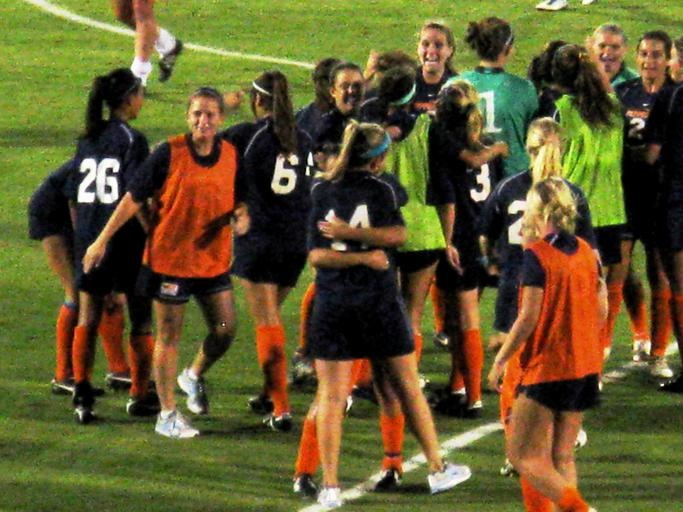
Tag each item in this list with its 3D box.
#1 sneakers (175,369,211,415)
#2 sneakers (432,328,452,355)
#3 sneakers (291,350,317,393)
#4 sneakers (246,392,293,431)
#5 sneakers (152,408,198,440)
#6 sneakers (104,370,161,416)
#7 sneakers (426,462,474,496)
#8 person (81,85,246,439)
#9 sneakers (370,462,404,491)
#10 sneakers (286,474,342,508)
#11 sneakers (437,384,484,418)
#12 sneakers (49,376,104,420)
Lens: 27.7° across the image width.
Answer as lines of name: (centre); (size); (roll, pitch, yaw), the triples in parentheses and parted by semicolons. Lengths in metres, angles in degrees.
sneakers: (-1.233, 1.127, 11.734); (0.180, 0.212, 0.463); (6, 46, -54)
sneakers: (0.961, 0.827, 13.320); (0.139, 0.197, 0.191); (-10, 45, 7)
sneakers: (-0.345, 1.052, 12.400); (0.258, 0.305, 0.156); (0, 0, -4)
sneakers: (-0.606, 1.307, 11.543); (0.176, 0.201, 0.501); (-16, 28, -24)
sneakers: (-1.342, 1.366, 11.088); (0.365, 0.157, 0.178); (4, 4, 2)
sneakers: (-1.857, 1.194, 11.675); (0.698, 0.277, 0.223); (3, 8, 3)
sneakers: (0.781, 1.634, 10.347); (0.417, 0.182, 0.155); (-21, 11, -7)
person: (-1.324, 0.056, 11.079); (1.096, 2.765, 0.465); (5, 8, -8)
sneakers: (0.339, 1.703, 10.631); (0.223, 0.163, 0.085); (-35, 13, -5)
sneakers: (-0.209, 1.735, 10.324); (0.165, 0.175, 0.445); (-16, 27, -30)
sneakers: (0.961, 1.258, 11.918); (0.185, 0.204, 0.486); (-4, 11, -39)
sneakers: (-2.200, 1.188, 11.490); (0.214, 0.259, 0.623); (1, 24, -24)
